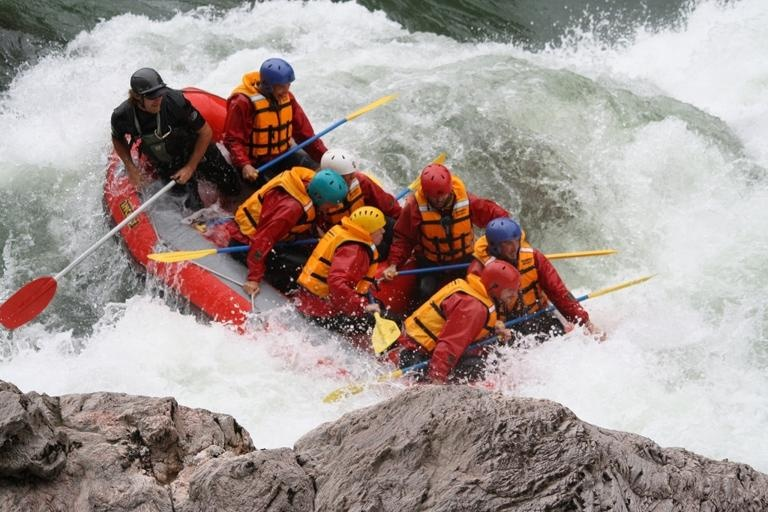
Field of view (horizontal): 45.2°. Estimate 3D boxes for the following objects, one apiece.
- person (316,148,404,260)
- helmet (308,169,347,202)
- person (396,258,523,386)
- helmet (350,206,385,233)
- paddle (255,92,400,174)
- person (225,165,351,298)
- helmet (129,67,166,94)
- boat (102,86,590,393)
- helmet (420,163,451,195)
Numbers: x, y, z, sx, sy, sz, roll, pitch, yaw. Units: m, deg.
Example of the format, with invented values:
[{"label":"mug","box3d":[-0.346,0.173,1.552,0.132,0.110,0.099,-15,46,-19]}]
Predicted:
[{"label":"person","box3d":[-0.243,-0.810,12.884,1.108,0.511,1.530,-48,111,-27]},{"label":"helmet","box3d":[-0.737,-0.896,12.206,0.475,0.378,0.357,0,61,-6]},{"label":"person","box3d":[1.031,0.912,11.986,1.317,0.821,0.762,-45,35,12]},{"label":"helmet","box3d":[-0.191,-0.506,12.212,0.393,0.312,0.258,25,104,-6]},{"label":"paddle","box3d":[-0.872,-1.811,14.049,2.970,0.158,0.240,-34,98,-25]},{"label":"person","box3d":[-1.240,-0.255,12.392,0.867,1.351,0.941,33,36,-21]},{"label":"helmet","box3d":[-3.134,-2.286,12.141,0.401,0.213,0.322,-2,37,23]},{"label":"boat","box3d":[-1.040,-0.045,11.413,6.248,1.240,3.412,24,60,2]},{"label":"helmet","box3d":[0.713,-1.047,12.477,0.320,0.441,0.338,-6,58,-6]}]
